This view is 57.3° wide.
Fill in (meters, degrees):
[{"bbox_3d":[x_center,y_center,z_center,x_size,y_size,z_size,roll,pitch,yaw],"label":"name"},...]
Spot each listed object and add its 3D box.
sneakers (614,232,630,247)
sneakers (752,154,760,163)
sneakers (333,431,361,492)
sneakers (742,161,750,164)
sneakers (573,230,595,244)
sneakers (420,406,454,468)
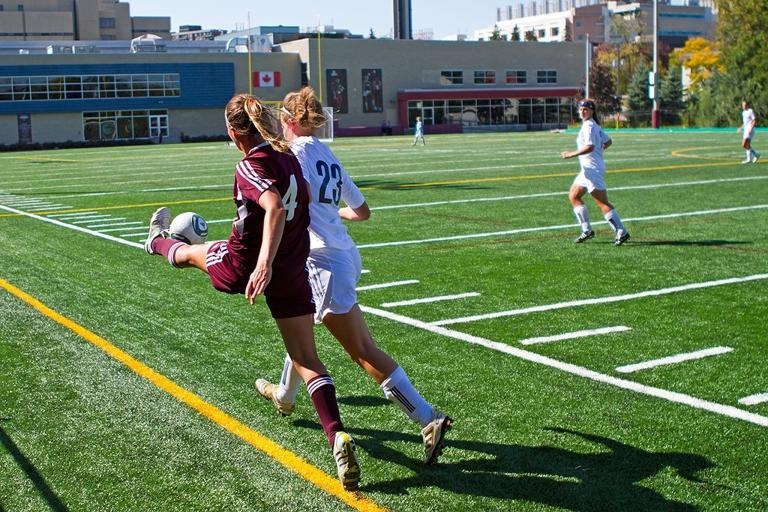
[{"bbox_3d":[3.654,-0.306,10.862,0.200,0.252,0.404,2,14,16],"label":"sneakers"},{"bbox_3d":[12.335,-3.225,23.410,0.225,0.268,0.686,-2,12,30],"label":"sneakers"},{"bbox_3d":[-0.239,1.288,4.437,0.140,0.391,0.202,-14,1,-10],"label":"sneakers"},{"bbox_3d":[12.107,-3.140,23.621,0.139,0.166,0.431,4,11,33],"label":"sneakers"},{"bbox_3d":[3.077,-0.302,10.983,0.372,0.163,0.141,-20,11,16],"label":"sneakers"},{"bbox_3d":[0.356,1.198,4.690,0.212,0.419,0.144,9,30,9],"label":"sneakers"}]
